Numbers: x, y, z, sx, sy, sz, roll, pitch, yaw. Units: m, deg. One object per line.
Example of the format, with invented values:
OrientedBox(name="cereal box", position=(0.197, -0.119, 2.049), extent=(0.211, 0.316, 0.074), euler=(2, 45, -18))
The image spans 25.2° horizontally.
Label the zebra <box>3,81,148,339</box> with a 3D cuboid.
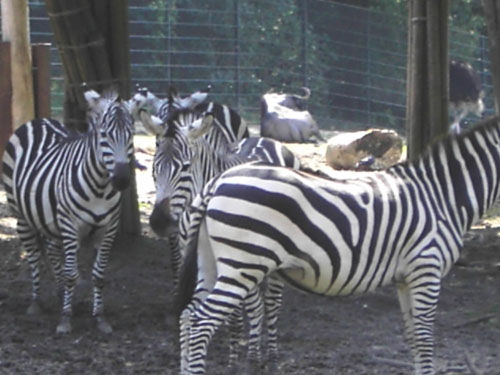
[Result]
OrientedBox(name="zebra", position=(-2.229, 0.172, 14.046), extent=(1.871, 2.954, 1.157), euler=(13, 19, 28))
